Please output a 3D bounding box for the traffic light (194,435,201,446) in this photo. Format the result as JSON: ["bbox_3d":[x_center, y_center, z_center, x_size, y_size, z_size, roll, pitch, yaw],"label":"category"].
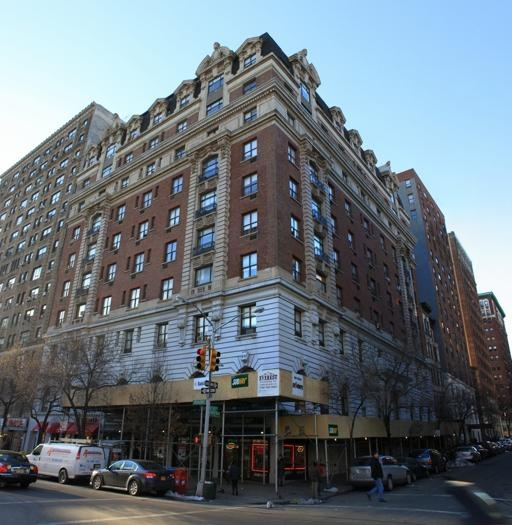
[{"bbox_3d":[-2.943,9.145,21.049,0.220,0.399,0.789,11,-28,-21],"label":"traffic light"}]

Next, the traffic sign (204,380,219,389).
[{"bbox_3d":[-2.361,6.324,21.074,0.508,0.481,0.837,-11,-28,21],"label":"traffic sign"}]

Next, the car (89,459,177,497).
[{"bbox_3d":[-6.350,10.698,20.261,4.612,1.476,1.636,-16,-30,30],"label":"car"}]

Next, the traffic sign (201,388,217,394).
[{"bbox_3d":[-2.431,6.609,20.948,0.603,0.342,0.827,-2,-26,3],"label":"traffic sign"}]

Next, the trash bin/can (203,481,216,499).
[{"bbox_3d":[-2.220,10.742,19.242,0.661,0.693,0.654,4,-13,-14],"label":"trash bin/can"}]
